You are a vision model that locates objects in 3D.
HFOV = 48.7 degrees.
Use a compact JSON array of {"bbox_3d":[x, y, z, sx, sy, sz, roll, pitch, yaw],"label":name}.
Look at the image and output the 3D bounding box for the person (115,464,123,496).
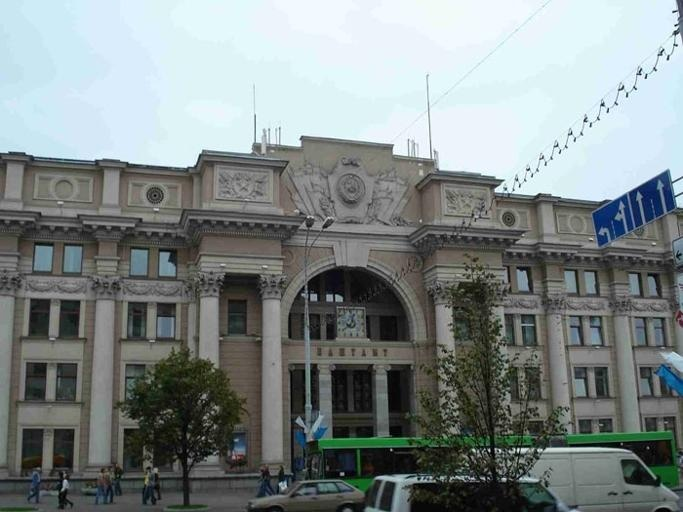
[{"bbox_3d":[-12.223,12.226,41.209,0.400,1.642,1.160,4,-17,-17],"label":"person"}]
